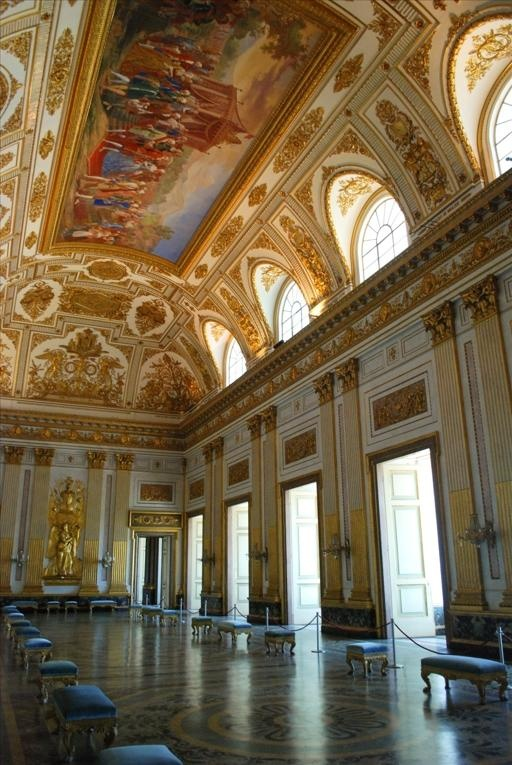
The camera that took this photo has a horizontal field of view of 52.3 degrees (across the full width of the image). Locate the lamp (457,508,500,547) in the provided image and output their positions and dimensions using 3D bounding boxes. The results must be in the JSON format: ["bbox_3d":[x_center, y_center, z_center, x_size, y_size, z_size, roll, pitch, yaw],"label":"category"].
[{"bbox_3d":[3.445,2.287,8.053,0.469,0.402,0.470,2,-7,-23],"label":"lamp"}]

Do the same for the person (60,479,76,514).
[{"bbox_3d":[-7.860,4.738,21.776,0.578,1.395,0.243,4,-20,-17],"label":"person"}]

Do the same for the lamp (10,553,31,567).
[{"bbox_3d":[-9.238,6.898,20.336,0.572,0.672,0.291,-5,-19,6],"label":"lamp"}]

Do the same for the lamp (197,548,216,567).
[{"bbox_3d":[-1.823,6.695,19.839,0.237,0.616,1.187,5,-20,-20],"label":"lamp"}]

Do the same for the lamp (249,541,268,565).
[{"bbox_3d":[0.090,5.230,15.840,0.532,0.730,0.732,10,-20,-21],"label":"lamp"}]

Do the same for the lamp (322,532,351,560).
[{"bbox_3d":[1.882,3.804,12.066,0.251,0.518,1.061,4,-20,-18],"label":"lamp"}]

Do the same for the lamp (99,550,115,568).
[{"bbox_3d":[-6.230,7.446,21.712,0.510,0.678,0.250,-7,-20,12],"label":"lamp"}]
